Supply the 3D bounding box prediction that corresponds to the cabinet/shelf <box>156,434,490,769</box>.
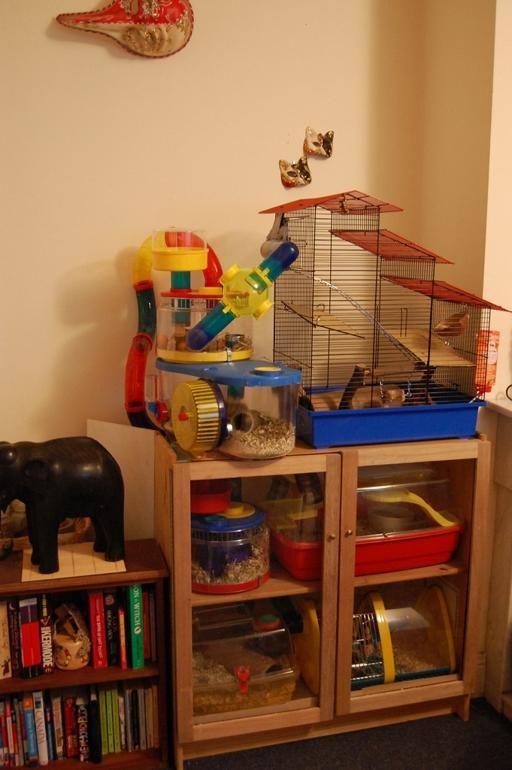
[{"bbox_3d":[0.127,0.471,1.418,0.713,0.680,0.274,-2,3,-18],"label":"cabinet/shelf"}]
